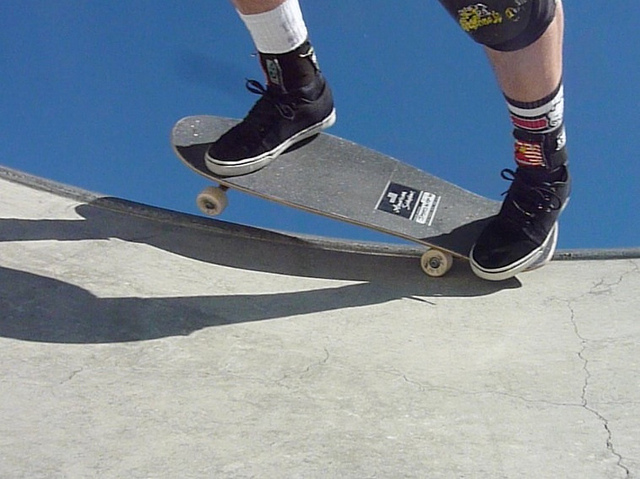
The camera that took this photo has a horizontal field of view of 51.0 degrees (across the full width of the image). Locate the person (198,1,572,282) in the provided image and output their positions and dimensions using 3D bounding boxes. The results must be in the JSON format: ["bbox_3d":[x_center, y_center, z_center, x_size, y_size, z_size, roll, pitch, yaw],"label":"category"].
[{"bbox_3d":[0.301,-0.302,3.021,1.458,1.192,0.568,15,59,21],"label":"person"}]

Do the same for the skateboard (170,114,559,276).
[{"bbox_3d":[0.192,-0.142,3.127,1.556,0.195,0.392,18,46,6],"label":"skateboard"}]
